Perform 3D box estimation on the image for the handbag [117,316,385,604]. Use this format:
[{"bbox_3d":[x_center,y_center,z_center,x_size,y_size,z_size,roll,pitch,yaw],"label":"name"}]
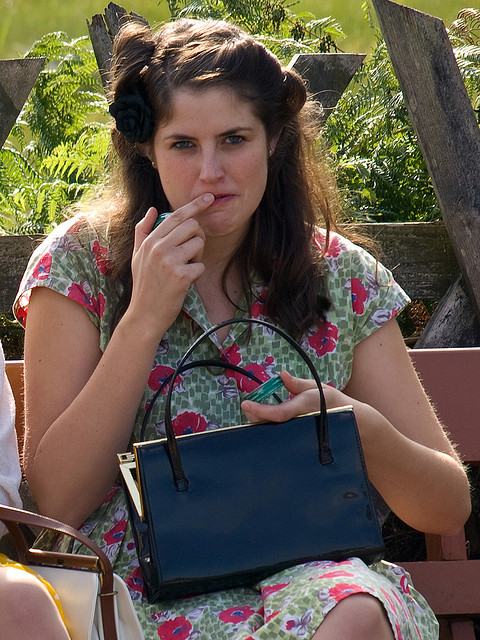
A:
[{"bbox_3d":[-0.018,0.224,1.308,0.487,0.481,0.577,-12,28,-7],"label":"handbag"}]
